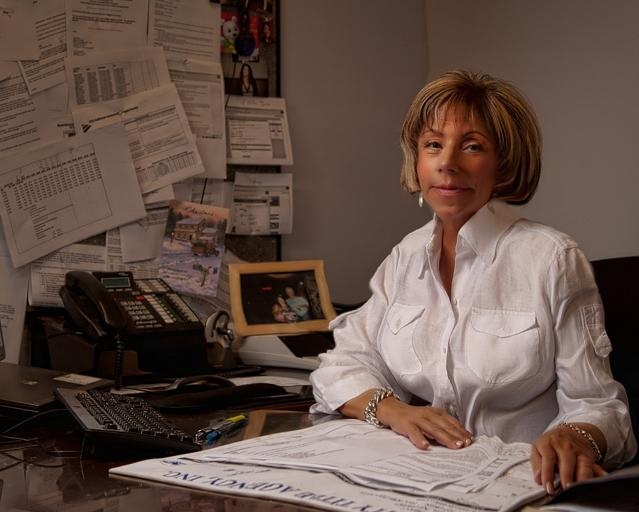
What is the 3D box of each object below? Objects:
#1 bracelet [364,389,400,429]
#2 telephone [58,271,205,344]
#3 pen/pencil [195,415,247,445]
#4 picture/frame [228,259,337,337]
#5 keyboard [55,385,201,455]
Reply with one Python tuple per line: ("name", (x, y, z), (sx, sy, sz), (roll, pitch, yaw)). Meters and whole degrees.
("bracelet", (0.104, 0.253, 0.869), (0.015, 0.054, 0.046), (21, -11, 13))
("telephone", (-0.482, 0.119, 1.374), (0.342, 0.104, 0.360), (16, 10, 21))
("pen/pencil", (-0.159, 0.288, 0.869), (0.024, 0.024, 0.100), (1, 5, 30))
("picture/frame", (-0.117, 0.134, 1.584), (0.275, 0.192, 0.019), (0, -29, -19))
("keyboard", (-0.335, 0.263, 0.846), (0.208, 0.032, 0.094), (12, -15, 32))
